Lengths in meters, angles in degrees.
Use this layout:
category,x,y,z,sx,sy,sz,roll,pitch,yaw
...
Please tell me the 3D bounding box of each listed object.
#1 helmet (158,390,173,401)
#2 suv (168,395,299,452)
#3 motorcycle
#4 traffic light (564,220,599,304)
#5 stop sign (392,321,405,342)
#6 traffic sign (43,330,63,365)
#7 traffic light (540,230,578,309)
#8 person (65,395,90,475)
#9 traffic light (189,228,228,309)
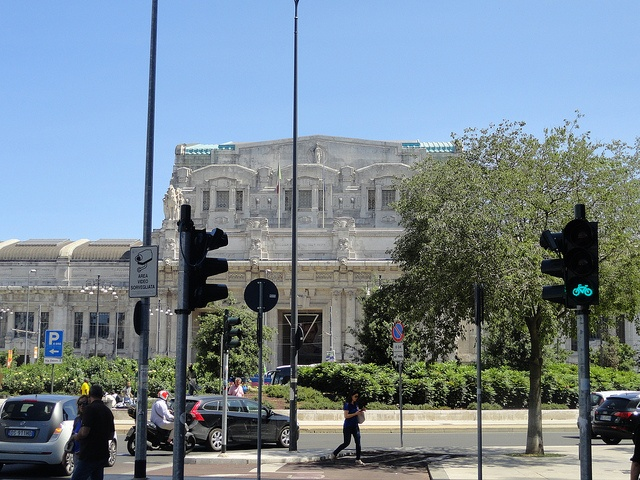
category,x,y,z,sx,sy,sz,roll,pitch,yaw
helmet,-6.008,6.102,46.410,0.480,0.401,0.345,-1,4,-38
suv,-3.244,7.388,48.270,5.510,1.909,2.509,5,-9,-32
motorcycle,-6.118,7.585,46.826,2.891,1.884,1.376,5,-4,-29
traffic light,8.057,0.731,36.737,1.010,2.802,1.059,4,4,44
stop sign,3.252,3.779,48.774,0.364,0.854,0.815,0,-7,-2
traffic sign,-12.897,5.221,57.836,0.793,1.538,1.836,2,-7,-15
traffic light,7.460,0.885,37.201,0.543,2.544,1.181,-10,4,-40
person,-7.589,6.156,37.413,0.750,2.447,0.612,-2,-8,1
traffic light,-3.465,0.927,37.001,1.221,2.593,0.777,4,-8,-28
